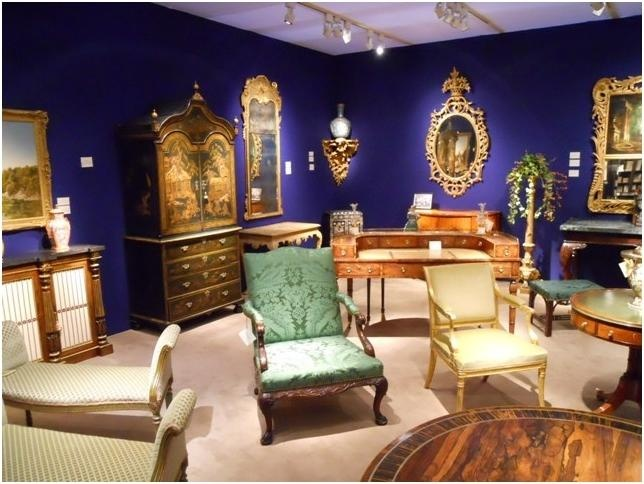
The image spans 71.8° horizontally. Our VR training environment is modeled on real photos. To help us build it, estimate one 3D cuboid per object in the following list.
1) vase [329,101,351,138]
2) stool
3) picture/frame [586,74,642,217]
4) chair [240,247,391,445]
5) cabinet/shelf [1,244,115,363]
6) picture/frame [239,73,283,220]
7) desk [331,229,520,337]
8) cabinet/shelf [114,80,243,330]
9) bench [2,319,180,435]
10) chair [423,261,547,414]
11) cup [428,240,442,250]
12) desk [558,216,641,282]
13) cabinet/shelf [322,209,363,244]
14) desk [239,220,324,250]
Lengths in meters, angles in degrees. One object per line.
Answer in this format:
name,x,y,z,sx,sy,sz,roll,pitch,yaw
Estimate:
vase,0.347,-2.193,8.134,0.388,0.603,0.274,-5,15,-15
stool,3.053,0.762,5.330,0.988,0.569,0.949,-9,5,-43
picture/frame,4.150,-1.349,6.264,0.708,1.837,0.264,7,17,28
chair,-0.104,0.775,3.837,1.092,1.284,1.085,-4,14,-12
cabinet/shelf,-2.624,0.608,4.343,0.447,1.063,1.167,2,5,21
picture/frame,-0.943,-1.443,6.873,0.286,2.158,1.045,6,16,25
desk,1.084,0.710,5.158,1.715,1.065,1.128,-1,4,9
cabinet/shelf,-1.775,-0.418,5.496,0.837,2.898,1.324,8,17,34
bench,-1.735,1.020,3.475,1.365,0.669,0.646,1,7,-2
chair,1.428,0.790,3.899,0.876,1.081,0.955,-2,9,4
cup,1.321,0.036,5.177,0.116,0.087,0.113,-1,-1,0
desk,3.814,-0.069,6.104,1.132,0.780,0.816,2,5,31
cabinet/shelf,0.390,-0.269,8.041,0.656,0.615,0.384,-3,10,-11
desk,-0.538,-0.061,6.809,0.898,0.414,1.333,6,15,29
